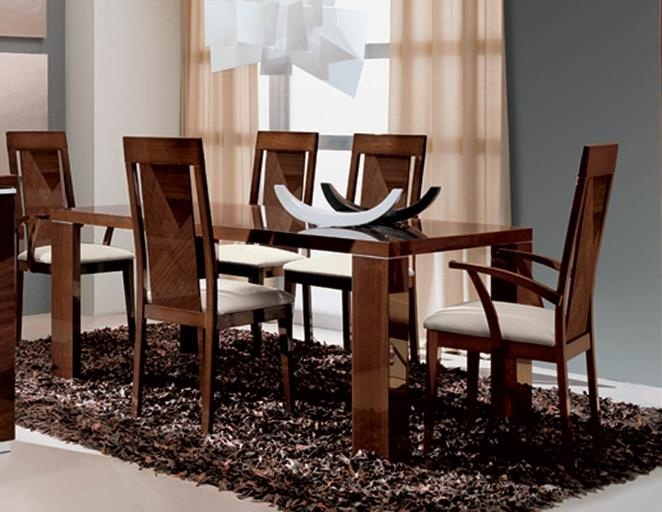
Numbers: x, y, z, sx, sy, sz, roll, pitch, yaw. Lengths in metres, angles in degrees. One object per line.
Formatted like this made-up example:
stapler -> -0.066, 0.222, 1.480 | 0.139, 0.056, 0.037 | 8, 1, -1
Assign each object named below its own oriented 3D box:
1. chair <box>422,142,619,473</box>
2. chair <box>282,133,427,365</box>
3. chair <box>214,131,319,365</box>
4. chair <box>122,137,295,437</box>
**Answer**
chair -> 0.744, 0.176, 2.467 | 0.620, 1.146, 0.565 | 3, 5, 27
chair -> 0.144, -0.008, 3.364 | 0.578, 1.366, 0.636 | 5, 3, 38
chair -> -0.273, -0.036, 4.017 | 0.740, 1.278, 0.781 | 20, -12, -13
chair -> -0.580, 0.067, 2.829 | 0.617, 1.191, 0.642 | -5, 11, -37
